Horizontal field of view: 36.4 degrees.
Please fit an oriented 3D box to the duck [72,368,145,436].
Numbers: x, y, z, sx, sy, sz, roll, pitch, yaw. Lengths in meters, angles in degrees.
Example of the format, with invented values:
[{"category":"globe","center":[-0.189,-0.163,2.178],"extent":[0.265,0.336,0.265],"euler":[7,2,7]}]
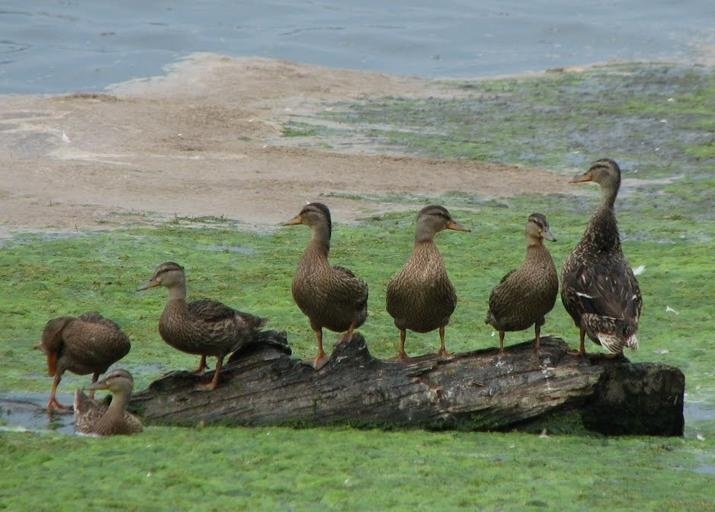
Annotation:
[{"category":"duck","center":[-4.851,2.751,20.516],"extent":[1.320,1.202,0.553],"euler":[1,3,19]}]
